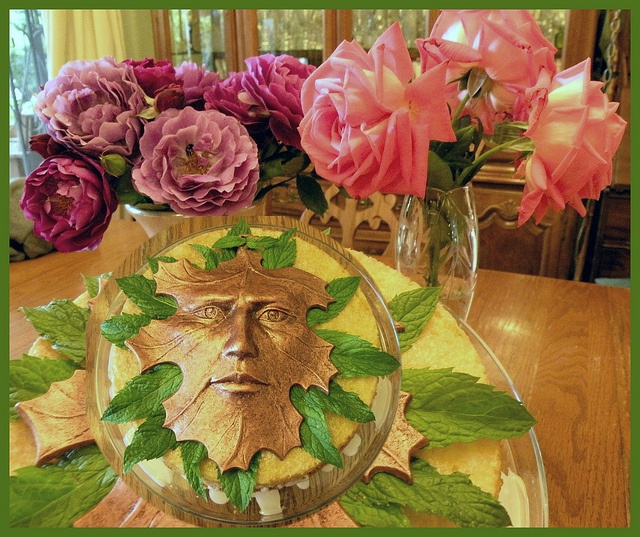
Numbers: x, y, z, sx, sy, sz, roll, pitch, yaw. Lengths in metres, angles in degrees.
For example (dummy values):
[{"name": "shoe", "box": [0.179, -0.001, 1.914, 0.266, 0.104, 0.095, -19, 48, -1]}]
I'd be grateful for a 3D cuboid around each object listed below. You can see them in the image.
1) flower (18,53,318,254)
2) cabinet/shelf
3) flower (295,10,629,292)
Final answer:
[{"name": "flower", "box": [-0.148, -0.132, 0.608, 0.305, 0.198, 0.203, 4, 18, 12]}, {"name": "cabinet/shelf", "box": [0.527, -0.100, 1.448, 0.259, 0.279, 0.141, 3, 18, 15]}, {"name": "flower", "box": [0.131, -0.121, 0.541, 0.301, 0.253, 0.146, 0, 18, -1]}]
